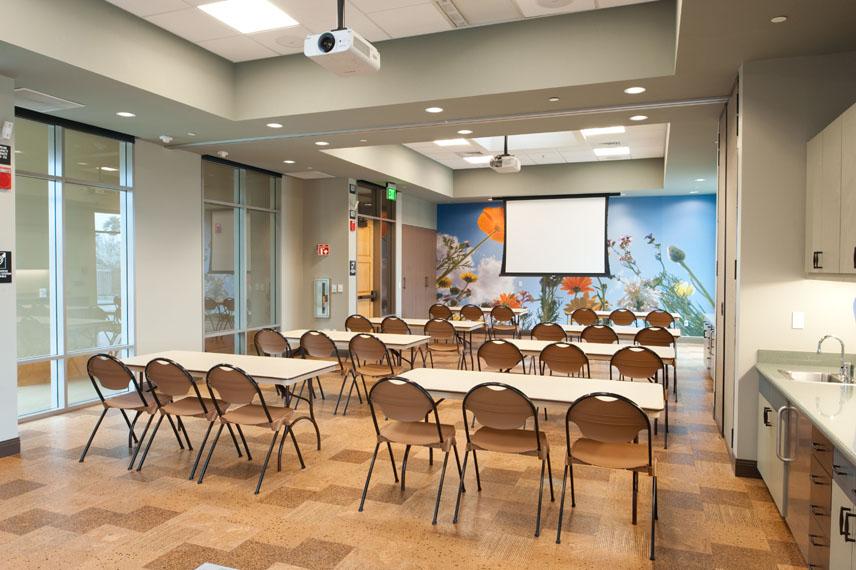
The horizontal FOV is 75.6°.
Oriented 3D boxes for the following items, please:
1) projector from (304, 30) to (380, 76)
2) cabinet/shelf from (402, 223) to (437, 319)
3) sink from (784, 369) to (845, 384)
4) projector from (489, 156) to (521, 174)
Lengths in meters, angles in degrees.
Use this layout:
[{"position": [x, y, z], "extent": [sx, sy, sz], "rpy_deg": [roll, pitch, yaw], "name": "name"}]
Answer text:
[{"position": [-0.779, -2.145, 5.058], "extent": [0.400, 0.325, 0.559], "rpy_deg": [7, 11, 36], "name": "projector"}, {"position": [-0.279, -0.346, 13.958], "extent": [0.393, 2.149, 0.846], "rpy_deg": [3, 3, 13], "name": "cabinet/shelf"}, {"position": [3.500, 0.837, 5.044], "extent": [0.228, 0.078, 0.184], "rpy_deg": [0, 2, 38], "name": "sink"}, {"position": [1.370, -2.097, 9.770], "extent": [0.510, 0.233, 0.504], "rpy_deg": [1, 2, 14], "name": "projector"}]
